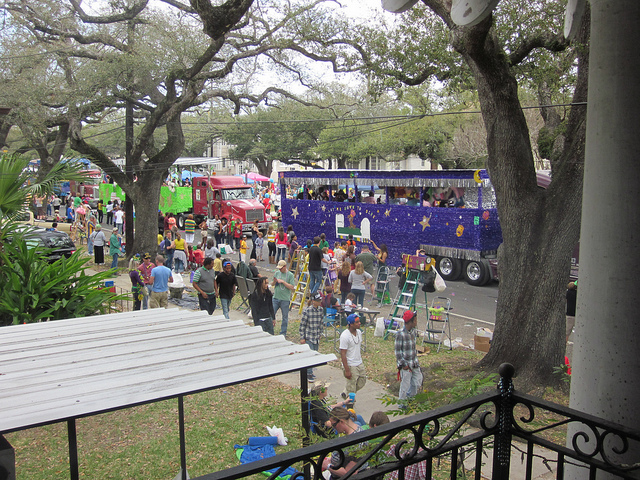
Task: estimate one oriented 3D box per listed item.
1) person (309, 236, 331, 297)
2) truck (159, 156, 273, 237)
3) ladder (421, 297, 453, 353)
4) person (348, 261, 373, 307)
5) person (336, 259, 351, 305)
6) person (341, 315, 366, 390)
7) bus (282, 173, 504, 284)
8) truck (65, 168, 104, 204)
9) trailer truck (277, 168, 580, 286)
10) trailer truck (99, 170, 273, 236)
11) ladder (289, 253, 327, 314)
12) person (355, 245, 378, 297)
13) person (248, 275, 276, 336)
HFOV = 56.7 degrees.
[{"bbox_3d":[-0.036,0.855,18.342,0.770,1.903,0.629,-4,8,-44],"label":"person"},{"bbox_3d":[-6.303,-2.331,35.668,2.643,3.805,8.411,-6,8,-40],"label":"truck"},{"bbox_3d":[3.056,2.059,15.453,0.670,1.237,0.729,11,14,36],"label":"ladder"},{"bbox_3d":[1.133,1.334,16.475,0.650,1.593,0.400,8,20,20],"label":"person"},{"bbox_3d":[0.709,1.348,17.223,0.522,1.512,0.485,-2,18,-4],"label":"person"},{"bbox_3d":[0.585,2.127,11.018,0.455,1.424,0.400,-5,4,-14],"label":"person"},{"bbox_3d":[2.745,-1.091,24.726,11.104,4.248,3.528,4,16,44],"label":"bus"},{"bbox_3d":[-19.512,-4.298,49.479,5.453,2.886,1.735,7,7,39],"label":"truck"},{"bbox_3d":[4.012,-0.589,23.527,11.585,3.299,2.862,3,-2,21],"label":"trailer truck"},{"bbox_3d":[-8.489,-2.507,35.947,8.061,2.868,2.263,1,20,7],"label":"trailer truck"},{"bbox_3d":[-0.631,1.309,18.356,0.692,1.669,2.305,-5,4,-2],"label":"ladder"},{"bbox_3d":[1.417,0.824,17.912,0.552,1.465,0.480,3,22,17],"label":"person"},{"bbox_3d":[-1.356,1.535,13.956,0.549,1.437,1.192,-5,4,-6],"label":"person"}]
